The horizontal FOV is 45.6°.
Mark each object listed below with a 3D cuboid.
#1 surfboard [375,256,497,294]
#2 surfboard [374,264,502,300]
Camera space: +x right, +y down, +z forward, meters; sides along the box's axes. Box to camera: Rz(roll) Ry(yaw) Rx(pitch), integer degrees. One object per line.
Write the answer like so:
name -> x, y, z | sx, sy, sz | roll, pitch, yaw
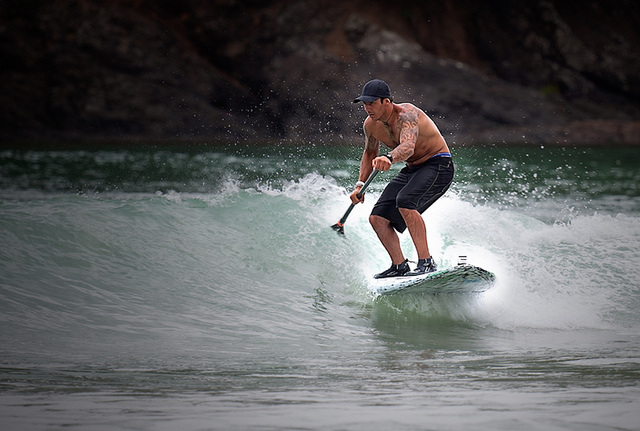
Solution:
surfboard -> 1.894, 0.974, 11.585 | 0.788, 0.319, 1.451 | 1, -6, -42
surfboard -> 1.736, 1.067, 11.647 | 1.543, 0.227, 0.747 | -7, -10, 25
